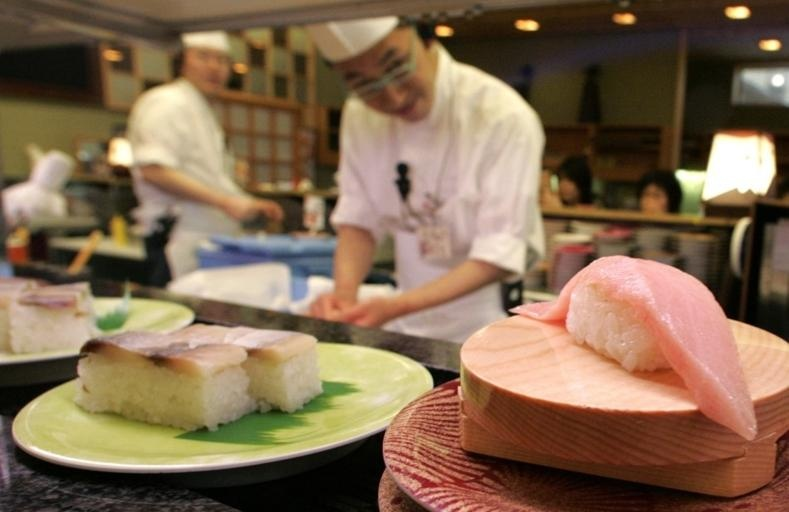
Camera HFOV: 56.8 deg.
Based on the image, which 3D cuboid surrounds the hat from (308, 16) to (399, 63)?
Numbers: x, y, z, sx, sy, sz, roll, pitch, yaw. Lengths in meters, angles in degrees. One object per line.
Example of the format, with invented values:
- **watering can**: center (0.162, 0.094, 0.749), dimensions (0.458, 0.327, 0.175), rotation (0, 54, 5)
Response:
- **hat**: center (-0.073, -0.409, 1.368), dimensions (0.206, 0.063, 0.145), rotation (3, 3, 22)

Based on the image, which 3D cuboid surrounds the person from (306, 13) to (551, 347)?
- **person**: center (0.086, -0.152, 1.793), dimensions (0.557, 0.932, 0.543), rotation (0, 19, 17)
